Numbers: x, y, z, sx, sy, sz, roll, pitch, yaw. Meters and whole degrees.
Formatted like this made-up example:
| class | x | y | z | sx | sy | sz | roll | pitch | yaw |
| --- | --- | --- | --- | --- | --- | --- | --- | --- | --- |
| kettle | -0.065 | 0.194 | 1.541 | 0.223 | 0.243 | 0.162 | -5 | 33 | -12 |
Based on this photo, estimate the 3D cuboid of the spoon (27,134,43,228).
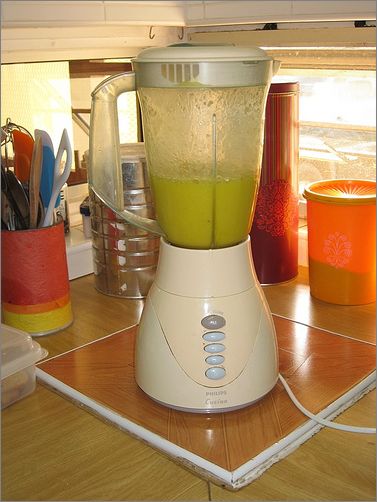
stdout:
| class | x | y | z | sx | sy | sz | roll | pitch | yaw |
| --- | --- | --- | --- | --- | --- | --- | --- | --- | --- |
| spoon | -0.255 | -0.113 | 0.673 | 0.031 | 0.152 | 0.058 | -6 | 9 | -20 |

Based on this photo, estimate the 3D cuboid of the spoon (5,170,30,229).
| class | x | y | z | sx | sy | sz | roll | pitch | yaw |
| --- | --- | --- | --- | --- | --- | --- | --- | --- | --- |
| spoon | -0.290 | -0.086 | 0.690 | 0.034 | 0.097 | 0.022 | -9 | 10 | -36 |

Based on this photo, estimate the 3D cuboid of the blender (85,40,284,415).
| class | x | y | z | sx | sy | sz | roll | pitch | yaw |
| --- | --- | --- | --- | --- | --- | --- | --- | --- | --- |
| blender | -0.011 | -0.020 | 0.500 | 0.228 | 0.438 | 0.150 | 1 | 9 | 26 |
